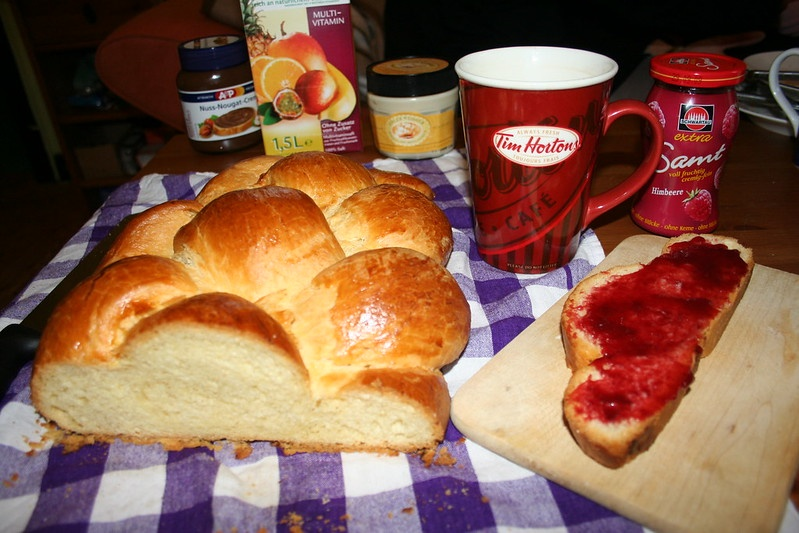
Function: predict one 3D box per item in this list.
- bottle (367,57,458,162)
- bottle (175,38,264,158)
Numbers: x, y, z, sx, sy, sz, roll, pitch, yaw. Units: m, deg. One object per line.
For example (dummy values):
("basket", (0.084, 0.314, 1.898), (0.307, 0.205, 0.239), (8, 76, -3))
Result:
("bottle", (0.048, -0.419, 1.545), (0.241, 0.211, 0.234), (-22, 40, -19))
("bottle", (-0.436, -0.493, 1.635), (0.266, 0.308, 0.276), (-15, 40, -20))
